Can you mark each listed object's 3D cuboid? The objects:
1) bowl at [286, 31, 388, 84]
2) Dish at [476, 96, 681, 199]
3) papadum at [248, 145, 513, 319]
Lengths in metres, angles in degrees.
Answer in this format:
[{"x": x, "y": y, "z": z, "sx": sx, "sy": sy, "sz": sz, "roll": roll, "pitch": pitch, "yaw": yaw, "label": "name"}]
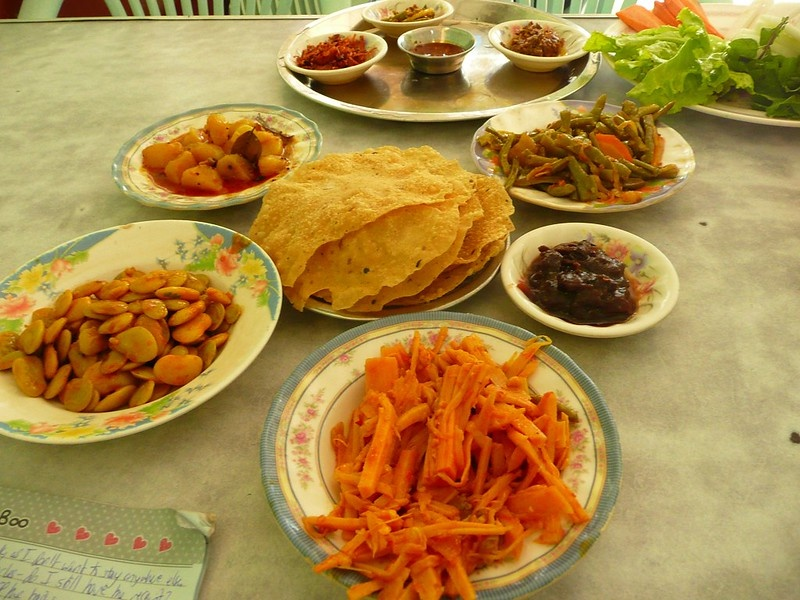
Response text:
[{"x": -0.296, "y": -1.153, "z": 3.124, "sx": 0.503, "sy": 0.129, "sz": 0.388, "roll": 6, "pitch": 41, "yaw": 15, "label": "bowl"}, {"x": 0.661, "y": -0.569, "z": 2.406, "sx": 0.731, "sy": 0.146, "sz": 0.606, "roll": 0, "pitch": 53, "yaw": 3, "label": "Dish"}, {"x": -0.057, "y": -0.264, "z": 2.108, "sx": 0.846, "sy": 0.192, "sz": 0.605, "roll": 13, "pitch": 49, "yaw": 14, "label": "papadum"}]
